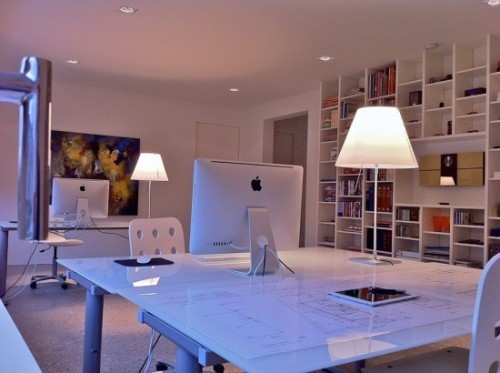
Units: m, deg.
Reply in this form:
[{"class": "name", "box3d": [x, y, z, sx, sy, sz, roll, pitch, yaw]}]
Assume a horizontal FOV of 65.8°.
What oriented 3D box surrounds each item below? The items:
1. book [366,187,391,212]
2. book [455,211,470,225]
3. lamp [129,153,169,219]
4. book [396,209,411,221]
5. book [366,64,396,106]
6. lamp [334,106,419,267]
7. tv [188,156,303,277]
[{"class": "book", "box3d": [1.780, 0.182, 5.322, 0.287, 0.404, 0.407, 0, -1, 16]}, {"class": "book", "box3d": [2.503, 0.380, 4.555, 0.171, 0.158, 0.170, 1, -1, 30]}, {"class": "lamp", "box3d": [-1.650, 0.031, 6.219, 0.486, 1.173, 0.534, 2, 2, -36]}, {"class": "book", "box3d": [2.012, 0.375, 5.073, 0.125, 0.176, 0.181, 1, -1, 4]}, {"class": "book", "box3d": [1.792, -1.364, 5.283, 0.159, 0.486, 0.375, 1, 4, -33]}, {"class": "lamp", "box3d": [0.683, -0.001, 2.319, 0.411, 1.046, 0.512, 8, 1, 0]}, {"class": "tv", "box3d": [-0.051, 0.127, 2.275, 0.823, 0.777, 0.547, 2, 4, -24]}]
